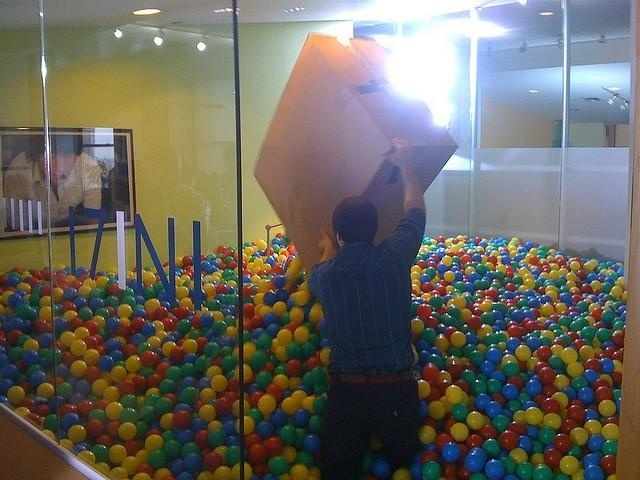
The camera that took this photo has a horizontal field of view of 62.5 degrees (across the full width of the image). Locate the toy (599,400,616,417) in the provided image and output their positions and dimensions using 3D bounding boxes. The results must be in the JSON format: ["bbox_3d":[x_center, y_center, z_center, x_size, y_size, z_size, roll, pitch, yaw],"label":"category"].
[{"bbox_3d":[1.279,0.749,2.352,0.059,0.078,0.062,0,-3,-23],"label":"toy"}]

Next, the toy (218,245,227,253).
[{"bbox_3d":[-0.346,0.030,1.862,0.015,0.020,0.016,28,17,6],"label":"toy"}]

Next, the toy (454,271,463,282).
[{"bbox_3d":[0.902,0.235,3.434,0.046,0.065,0.050,-3,4,19],"label":"toy"}]

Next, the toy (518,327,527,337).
[{"bbox_3d":[1.060,0.479,2.763,0.038,0.054,0.042,-2,4,12],"label":"toy"}]

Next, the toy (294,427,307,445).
[{"bbox_3d":[-0.084,0.808,2.201,0.052,0.071,0.055,5,5,29],"label":"toy"}]

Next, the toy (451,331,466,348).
[{"bbox_3d":[0.675,0.476,2.596,0.064,0.074,0.081,-1,-35,26],"label":"toy"}]

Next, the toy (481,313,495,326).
[{"bbox_3d":[0.893,0.421,2.808,0.058,0.079,0.060,-14,7,-21],"label":"toy"}]

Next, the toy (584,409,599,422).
[{"bbox_3d":[1.196,0.767,2.337,0.045,0.061,0.048,-4,1,-15],"label":"toy"}]

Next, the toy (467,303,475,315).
[{"bbox_3d":[0.816,0.370,2.850,0.038,0.052,0.040,-4,4,-24],"label":"toy"}]

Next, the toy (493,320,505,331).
[{"bbox_3d":[0.941,0.450,2.790,0.039,0.047,0.055,1,4,6],"label":"toy"}]

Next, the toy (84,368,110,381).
[{"bbox_3d":[-0.988,0.591,2.331,0.071,0.062,0.058,6,-25,9],"label":"toy"}]

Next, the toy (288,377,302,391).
[{"bbox_3d":[-0.111,0.638,2.336,0.058,0.048,0.036,-1,5,-3],"label":"toy"}]

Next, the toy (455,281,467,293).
[{"bbox_3d":[0.870,0.286,3.277,0.050,0.079,0.055,-3,1,-1],"label":"toy"}]

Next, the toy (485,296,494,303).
[{"bbox_3d":[0.986,0.346,3.083,0.035,0.030,0.041,8,44,8],"label":"toy"}]

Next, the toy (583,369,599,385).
[{"bbox_3d":[1.284,0.647,2.504,0.055,0.075,0.060,-7,10,-5],"label":"toy"}]

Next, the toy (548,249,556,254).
[{"bbox_3d":[1.906,0.093,4.344,0.049,0.068,0.054,5,-10,6],"label":"toy"}]

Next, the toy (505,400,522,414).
[{"bbox_3d":[0.871,0.747,2.384,0.049,0.066,0.052,3,5,-10],"label":"toy"}]

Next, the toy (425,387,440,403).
[{"bbox_3d":[0.490,0.680,2.346,0.050,0.066,0.056,11,27,-12],"label":"toy"}]

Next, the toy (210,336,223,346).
[{"bbox_3d":[-0.380,0.371,1.939,0.034,0.047,0.037,-5,3,-34],"label":"toy"}]

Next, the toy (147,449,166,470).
[{"bbox_3d":[-0.657,0.879,2.122,0.059,0.079,0.061,-1,6,-22],"label":"toy"}]

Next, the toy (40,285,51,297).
[{"bbox_3d":[-1.356,0.250,2.605,0.050,0.067,0.051,-3,-9,42],"label":"toy"}]

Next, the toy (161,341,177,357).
[{"bbox_3d":[-0.617,0.443,2.157,0.040,0.049,0.040,-39,44,-10],"label":"toy"}]

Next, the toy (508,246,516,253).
[{"bbox_3d":[1.579,0.079,4.343,0.049,0.065,0.051,8,-19,-20],"label":"toy"}]

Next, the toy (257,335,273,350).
[{"bbox_3d":[-0.254,0.462,2.401,0.054,0.076,0.059,2,9,8],"label":"toy"}]

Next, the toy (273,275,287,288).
[{"bbox_3d":[-0.203,0.207,2.654,0.078,0.057,0.058,0,5,6],"label":"toy"}]

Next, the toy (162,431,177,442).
[{"bbox_3d":[-0.615,0.798,2.145,0.040,0.053,0.041,12,-13,-38],"label":"toy"}]

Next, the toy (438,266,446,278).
[{"bbox_3d":[0.797,0.206,3.504,0.056,0.072,0.064,8,46,4],"label":"toy"}]

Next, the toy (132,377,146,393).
[{"bbox_3d":[-0.768,0.615,2.246,0.056,0.066,0.069,0,-14,-11],"label":"toy"}]

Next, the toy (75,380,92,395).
[{"bbox_3d":[-1.052,0.650,2.334,0.061,0.083,0.066,-5,3,-15],"label":"toy"}]

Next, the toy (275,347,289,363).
[{"bbox_3d":[-0.174,0.520,2.402,0.054,0.075,0.059,-2,3,9],"label":"toy"}]

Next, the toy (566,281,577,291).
[{"bbox_3d":[1.696,0.307,3.569,0.054,0.076,0.059,-1,3,17],"label":"toy"}]

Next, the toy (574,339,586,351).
[{"bbox_3d":[1.322,0.537,2.692,0.040,0.057,0.044,5,-4,2],"label":"toy"}]

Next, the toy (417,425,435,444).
[{"bbox_3d":[0.449,0.822,2.253,0.059,0.079,0.067,-1,38,1],"label":"toy"}]

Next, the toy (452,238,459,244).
[{"bbox_3d":[1.188,0.005,4.633,0.045,0.064,0.052,-1,6,3],"label":"toy"}]

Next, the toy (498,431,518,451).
[{"bbox_3d":[0.795,0.849,2.229,0.066,0.089,0.065,6,-4,-42],"label":"toy"}]

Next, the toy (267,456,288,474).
[{"bbox_3d":[-0.167,0.901,2.105,0.058,0.076,0.066,6,43,-4],"label":"toy"}]

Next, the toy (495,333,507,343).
[{"bbox_3d":[0.908,0.491,2.651,0.040,0.054,0.047,-1,46,7],"label":"toy"}]

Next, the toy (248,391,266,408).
[{"bbox_3d":[-0.268,0.675,2.233,0.045,0.062,0.049,2,2,10],"label":"toy"}]

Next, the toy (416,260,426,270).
[{"bbox_3d":[0.661,0.155,3.468,0.049,0.057,0.062,-3,-32,18],"label":"toy"}]

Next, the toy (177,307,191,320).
[{"bbox_3d":[-0.517,0.277,2.007,0.038,0.036,0.034,-29,-9,39],"label":"toy"}]

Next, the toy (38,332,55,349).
[{"bbox_3d":[-1.321,0.475,2.567,0.077,0.103,0.080,-2,-4,-30],"label":"toy"}]

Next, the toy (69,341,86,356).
[{"bbox_3d":[-1.099,0.488,2.392,0.100,0.069,0.023,1,5,23],"label":"toy"}]

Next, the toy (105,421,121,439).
[{"bbox_3d":[-0.868,0.789,2.214,0.051,0.069,0.055,1,10,-17],"label":"toy"}]

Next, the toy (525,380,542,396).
[{"bbox_3d":[0.982,0.682,2.428,0.057,0.078,0.062,1,4,1],"label":"toy"}]

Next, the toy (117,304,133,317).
[{"bbox_3d":[-0.836,0.300,2.258,0.062,0.082,0.065,-3,10,-23],"label":"toy"}]

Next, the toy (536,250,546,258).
[{"bbox_3d":[1.779,0.108,4.262,0.054,0.034,0.058,-12,22,-14],"label":"toy"}]

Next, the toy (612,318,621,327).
[{"bbox_3d":[1.647,0.459,2.932,0.044,0.031,0.048,-11,23,19],"label":"toy"}]

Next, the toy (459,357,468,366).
[{"bbox_3d":[0.687,0.580,2.539,0.031,0.041,0.031,-6,6,-25],"label":"toy"}]

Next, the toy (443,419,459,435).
[{"bbox_3d":[0.564,0.803,2.286,0.047,0.063,0.051,14,19,4],"label":"toy"}]

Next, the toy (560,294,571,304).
[{"bbox_3d":[1.545,0.364,3.321,0.050,0.067,0.058,-3,46,10],"label":"toy"}]

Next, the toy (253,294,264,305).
[{"bbox_3d":[-0.306,0.293,2.629,0.045,0.061,0.047,3,0,-27],"label":"toy"}]

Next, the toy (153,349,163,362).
[{"bbox_3d":[-0.680,0.479,2.204,0.048,0.056,0.013,2,5,34],"label":"toy"}]

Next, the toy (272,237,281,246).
[{"bbox_3d":[-0.321,0.010,3.846,0.048,0.055,0.057,29,23,13],"label":"toy"}]

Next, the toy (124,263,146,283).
[{"bbox_3d":[-0.750,0.141,2.130,0.151,0.075,0.028,4,7,44],"label":"toy"}]

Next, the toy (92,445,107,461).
[{"bbox_3d":[-0.918,0.889,2.204,0.061,0.080,0.060,-4,-8,-31],"label":"toy"}]

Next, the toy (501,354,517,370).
[{"bbox_3d":[0.902,0.574,2.529,0.051,0.071,0.057,8,26,11],"label":"toy"}]

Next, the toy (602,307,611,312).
[{"bbox_3d":[1.666,0.398,3.070,0.022,0.035,0.032,3,12,12],"label":"toy"}]
